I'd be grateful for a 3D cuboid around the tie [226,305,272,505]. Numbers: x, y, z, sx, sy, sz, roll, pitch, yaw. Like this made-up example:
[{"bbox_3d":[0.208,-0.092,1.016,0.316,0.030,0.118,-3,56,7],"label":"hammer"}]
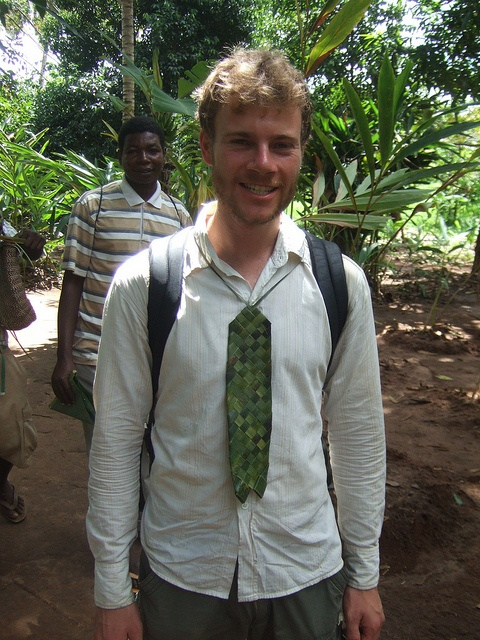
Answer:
[{"bbox_3d":[0.023,0.162,1.058,0.093,0.359,0.167,-3,14,3],"label":"tie"}]
